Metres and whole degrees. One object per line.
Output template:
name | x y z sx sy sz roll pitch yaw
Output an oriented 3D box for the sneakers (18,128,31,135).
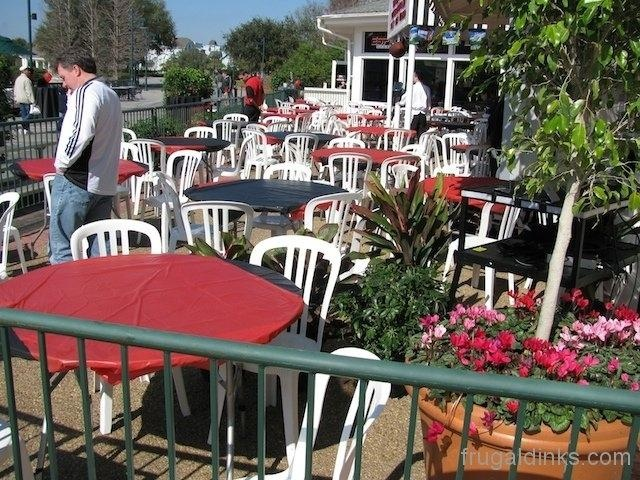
sneakers | -4.089 -1.529 6.987 0.073 0.106 0.217 -17 19 -27
